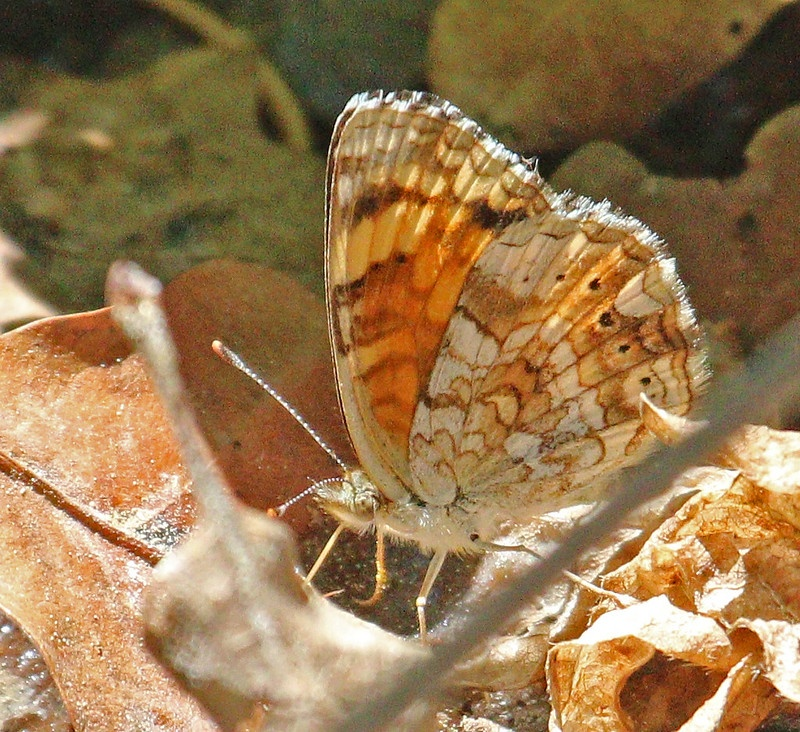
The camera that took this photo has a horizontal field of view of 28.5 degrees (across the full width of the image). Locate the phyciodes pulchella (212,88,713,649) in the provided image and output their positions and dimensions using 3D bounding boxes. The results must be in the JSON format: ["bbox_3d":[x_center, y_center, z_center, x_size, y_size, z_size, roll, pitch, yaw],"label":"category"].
[{"bbox_3d":[0.112,0.025,2.455,0.675,0.275,0.672,28,86,2],"label":"phyciodes pulchella"}]
